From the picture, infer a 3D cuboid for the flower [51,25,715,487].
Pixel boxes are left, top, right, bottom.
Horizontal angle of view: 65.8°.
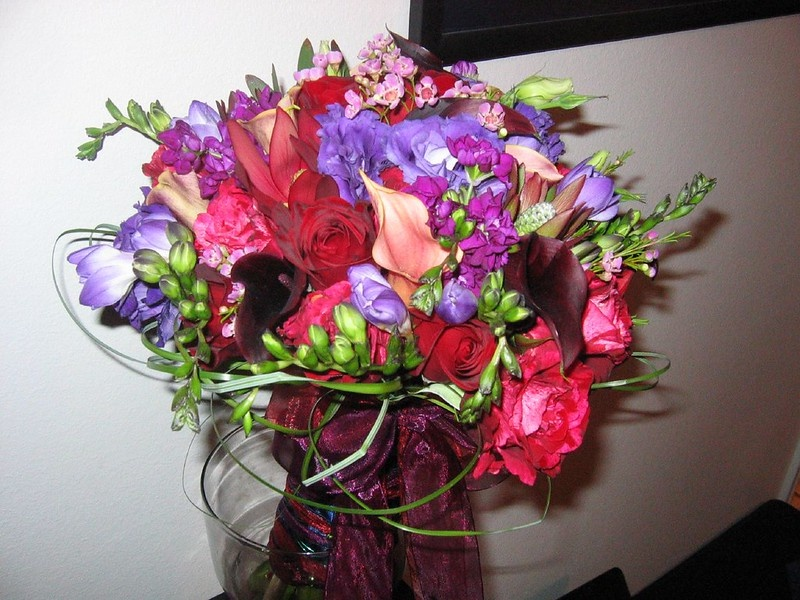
[{"bbox_3d":[0.001,-0.023,0.879,0.586,0.524,0.606,16,44,4],"label":"flower"}]
